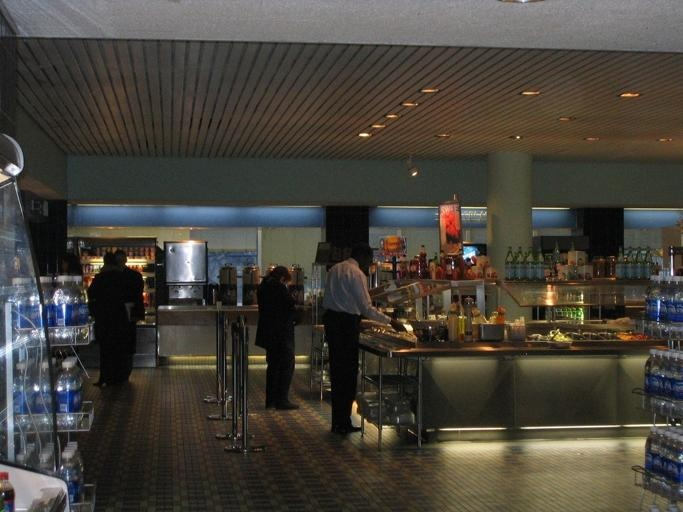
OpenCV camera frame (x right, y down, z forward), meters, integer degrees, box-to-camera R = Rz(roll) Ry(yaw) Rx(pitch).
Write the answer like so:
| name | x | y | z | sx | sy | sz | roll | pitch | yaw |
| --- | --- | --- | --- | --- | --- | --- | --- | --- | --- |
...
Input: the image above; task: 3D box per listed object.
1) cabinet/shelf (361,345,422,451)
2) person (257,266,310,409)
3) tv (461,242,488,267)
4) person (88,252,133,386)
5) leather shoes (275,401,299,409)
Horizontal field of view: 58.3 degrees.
| name | x | y | z | sx | sy | sz | roll | pitch | yaw |
| --- | --- | --- | --- | --- | --- | --- | --- | --- | --- |
| cabinet/shelf | 0.523 | 1.481 | 6.336 | 0.444 | 0.917 | 1.024 | 1 | -3 | -2 |
| person | -0.862 | 1.031 | 7.929 | 0.542 | 1.817 | 0.349 | 0 | -1 | 3 |
| tv | 2.240 | -0.039 | 10.487 | 0.348 | 0.300 | 0.176 | 4 | -21 | -16 |
| person | -3.617 | 0.941 | 9.494 | 0.618 | 2.004 | 0.437 | 0 | -1 | -21 |
| leather shoes | -0.711 | 1.910 | 7.871 | 0.315 | 0.171 | 0.098 | 0 | -3 | -5 |
